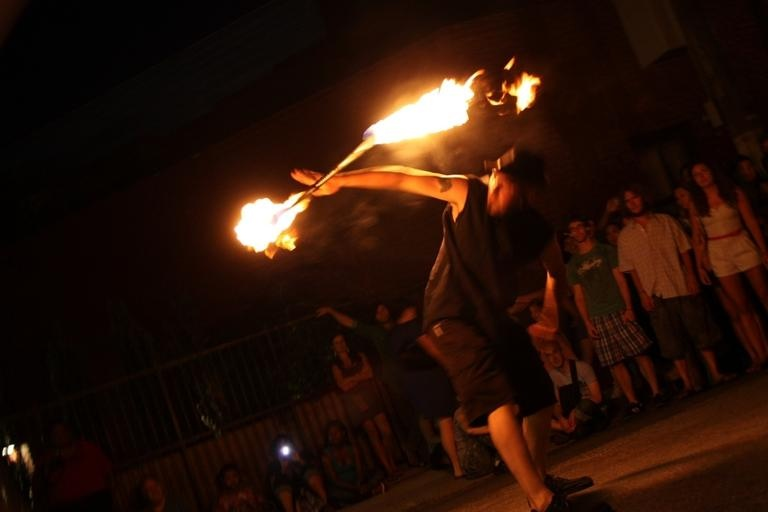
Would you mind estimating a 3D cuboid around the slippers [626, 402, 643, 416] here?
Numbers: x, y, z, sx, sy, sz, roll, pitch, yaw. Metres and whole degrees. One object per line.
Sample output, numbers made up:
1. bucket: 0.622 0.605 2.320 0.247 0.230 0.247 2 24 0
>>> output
1. slippers: 3.430 2.089 8.166 0.085 0.110 0.241 -3 -4 -14
